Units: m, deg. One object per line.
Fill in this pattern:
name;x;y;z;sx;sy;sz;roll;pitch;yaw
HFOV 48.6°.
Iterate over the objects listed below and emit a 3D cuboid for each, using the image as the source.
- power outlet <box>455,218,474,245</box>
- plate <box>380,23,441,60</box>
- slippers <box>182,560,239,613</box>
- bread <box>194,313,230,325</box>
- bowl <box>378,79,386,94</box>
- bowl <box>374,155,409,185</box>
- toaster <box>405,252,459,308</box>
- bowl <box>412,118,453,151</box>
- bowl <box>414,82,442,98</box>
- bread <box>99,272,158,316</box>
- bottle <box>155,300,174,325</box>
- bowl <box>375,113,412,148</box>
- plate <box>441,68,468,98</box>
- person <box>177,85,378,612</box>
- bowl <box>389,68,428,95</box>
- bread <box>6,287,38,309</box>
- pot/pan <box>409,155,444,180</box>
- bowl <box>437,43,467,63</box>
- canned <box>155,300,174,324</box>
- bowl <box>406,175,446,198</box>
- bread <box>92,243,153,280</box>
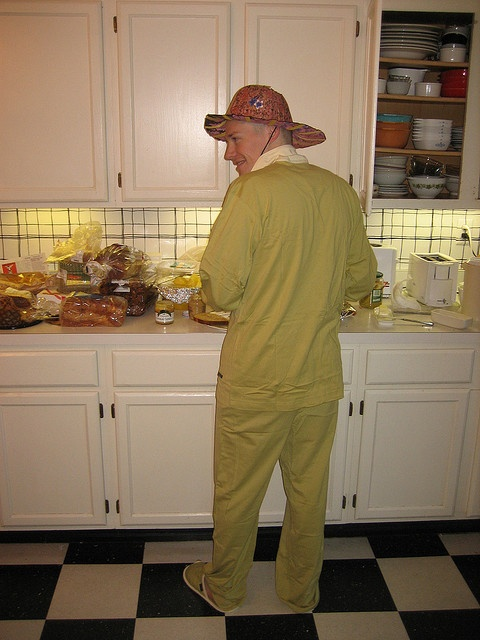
power outlet;1.026;-0.398;2.422;0.055;0.109;0.059;-11;17;-42
plate;0.630;-1.033;1.964;0.174;0.068;0.168;1;15;2
slippers;-0.098;0.850;1.738;0.096;0.077;0.204;-8;28;-33
bread;-0.095;-0.009;1.835;0.076;0.015;0.053;7;9;24
bowl;0.540;-0.887;2.013;0.024;0.057;0.083;5;13;18
bowl;0.596;-0.589;2.083;0.127;0.085;0.118;-1;9;0
toaster;0.792;-0.171;2.196;0.140;0.173;0.242;-1;14;1
bowl;0.736;-0.713;2.033;0.145;0.096;0.131;-1;17;0
bowl;0.718;-0.880;2.024;0.075;0.043;0.072;1;18;0
bread;-0.410;-0.095;1.915;0.179;0.103;0.296;-1;1;-2
bottle;-0.255;-0.030;1.854;0.076;0.078;0.074;2;12;6
bowl;0.588;-0.731;2.045;0.139;0.097;0.136;0;8;0
plate;0.820;-0.906;2.034;0.115;0.073;0.093;10;19;38
person;0.112;0.116;1.533;0.499;1.375;0.414;0;10;-8
bowl;0.650;-0.939;2.078;0.132;0.091;0.103;4;19;1
bread;-0.748;-0.071;1.824;0.079;0.030;0.078;29;12;25
pot/pan;0.749;-0.609;2.145;0.123;0.071;0.121;19;3;29
bowl;0.802;-1.011;1.999;0.086;0.042;0.071;-19;34;-29
canned;-0.254;-0.030;1.851;0.075;0.077;0.072;1;10;5
bowl;0.737;-0.531;2.140;0.107;0.060;0.104;0;9;0
bread;-0.434;-0.233;1.977;0.127;0.070;0.166;8;18;5
